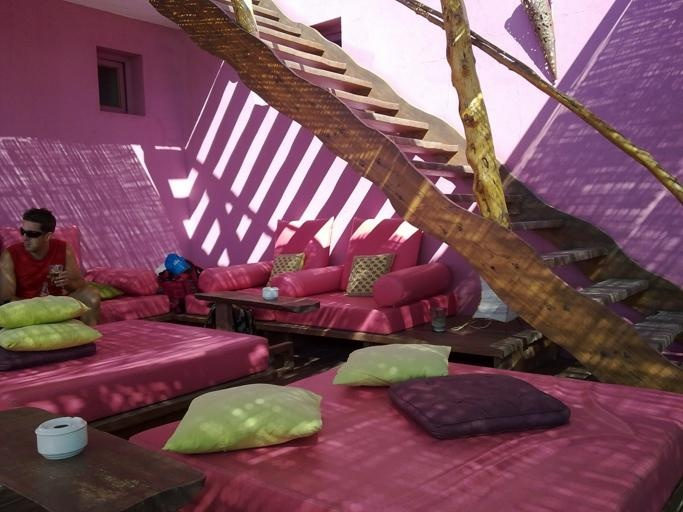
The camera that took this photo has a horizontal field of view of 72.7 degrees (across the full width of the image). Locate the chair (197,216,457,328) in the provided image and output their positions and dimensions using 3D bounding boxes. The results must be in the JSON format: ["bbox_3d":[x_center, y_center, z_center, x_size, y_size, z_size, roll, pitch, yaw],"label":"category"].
[{"bbox_3d":[0.154,0.138,4.377,1.417,0.947,1.043,3,6,36],"label":"chair"}]

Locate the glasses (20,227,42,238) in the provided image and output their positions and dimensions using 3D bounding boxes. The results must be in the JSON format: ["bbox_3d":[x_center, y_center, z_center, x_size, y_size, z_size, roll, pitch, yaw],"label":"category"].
[{"bbox_3d":[-2.297,-0.163,3.339,0.180,0.068,0.085,1,5,16],"label":"glasses"}]

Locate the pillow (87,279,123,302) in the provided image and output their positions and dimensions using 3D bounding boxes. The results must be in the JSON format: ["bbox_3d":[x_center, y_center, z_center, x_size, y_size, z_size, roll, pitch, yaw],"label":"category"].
[{"bbox_3d":[-2.361,0.348,4.560,0.227,0.060,0.245,29,22,29],"label":"pillow"}]

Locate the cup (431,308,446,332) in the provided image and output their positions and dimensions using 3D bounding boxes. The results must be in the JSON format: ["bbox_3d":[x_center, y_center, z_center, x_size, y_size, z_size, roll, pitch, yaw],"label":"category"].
[{"bbox_3d":[0.771,0.504,3.728,0.116,0.192,0.152,0,5,8],"label":"cup"}]
